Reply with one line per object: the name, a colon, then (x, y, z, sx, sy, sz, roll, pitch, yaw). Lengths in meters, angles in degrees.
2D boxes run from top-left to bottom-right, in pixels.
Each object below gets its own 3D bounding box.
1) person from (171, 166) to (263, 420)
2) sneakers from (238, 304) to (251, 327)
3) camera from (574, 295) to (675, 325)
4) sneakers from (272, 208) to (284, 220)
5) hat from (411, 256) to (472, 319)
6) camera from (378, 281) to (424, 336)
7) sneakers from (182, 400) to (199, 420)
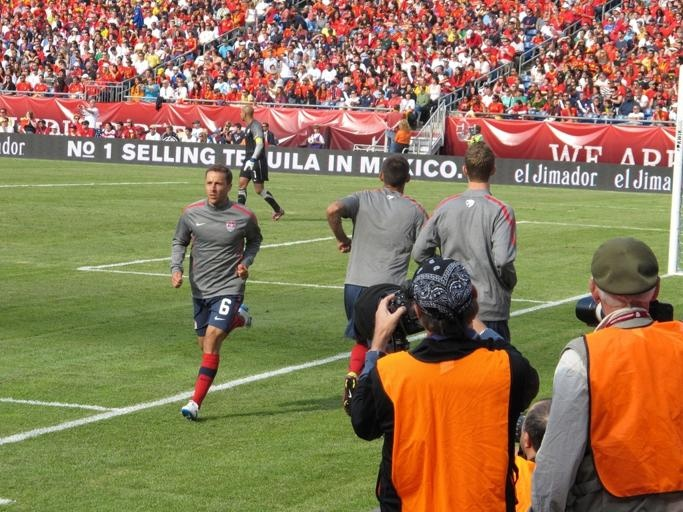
person: (-1.017, 0.244, 8.845, 0.755, 1.954, 1.070, 0, 4, -9)
sneakers: (-0.786, 0.512, 8.980, 0.064, 0.164, 0.119, -18, 32, -29)
camera: (1.391, 0.270, 5.294, 0.343, 0.153, 0.206, 4, 5, 39)
sneakers: (-1.167, -0.780, 19.921, 0.108, 0.124, 0.317, 4, 35, 25)
hat: (0.460, 0.137, 5.076, 0.382, 0.245, 0.564, 0, 8, -2)
camera: (0.323, 0.279, 5.485, 0.262, 0.239, 0.254, -9, 9, 1)
sneakers: (-1.177, 1.181, 8.396, 0.135, 0.154, 0.238, 0, 4, -9)
